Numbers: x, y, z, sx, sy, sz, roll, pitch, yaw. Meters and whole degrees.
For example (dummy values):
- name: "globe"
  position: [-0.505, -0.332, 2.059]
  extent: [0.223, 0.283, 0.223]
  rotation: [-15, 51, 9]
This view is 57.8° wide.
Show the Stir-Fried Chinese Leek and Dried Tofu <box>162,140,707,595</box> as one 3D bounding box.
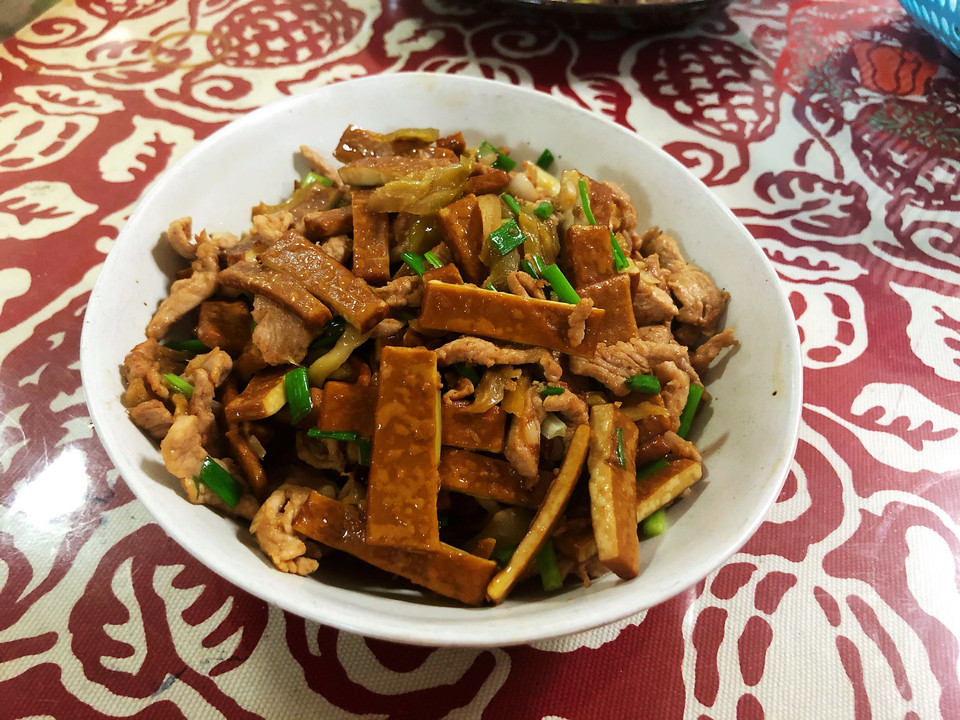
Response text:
- name: "Stir-Fried Chinese Leek and Dried Tofu"
  position: [-0.147, 0.007, 2.948]
  extent: [1.952, 0.411, 1.568]
  rotation: [5, 75, -3]
